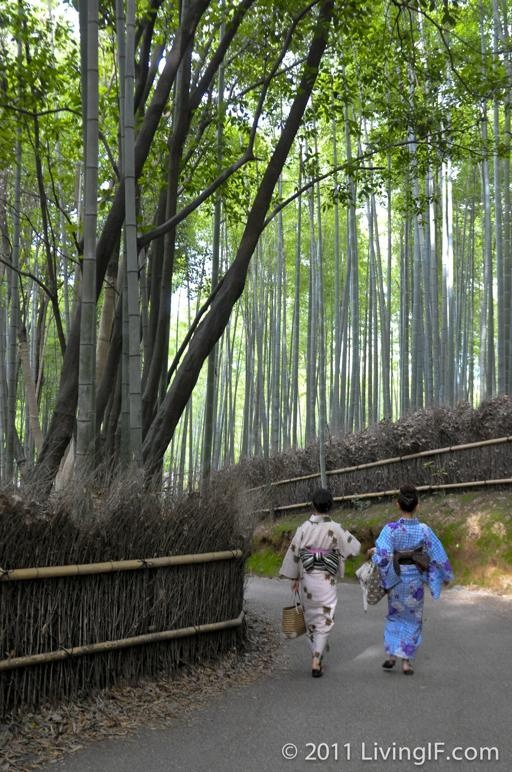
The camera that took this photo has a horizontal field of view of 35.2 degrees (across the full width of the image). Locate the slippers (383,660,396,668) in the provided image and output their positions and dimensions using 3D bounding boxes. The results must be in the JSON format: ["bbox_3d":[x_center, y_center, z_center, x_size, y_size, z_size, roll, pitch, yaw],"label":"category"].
[{"bbox_3d":[0.677,1.405,4.095,0.061,0.045,0.112,-2,-6,9],"label":"slippers"}]

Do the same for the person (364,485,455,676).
[{"bbox_3d":[0.822,0.977,4.211,0.373,1.017,0.263,3,15,17],"label":"person"}]

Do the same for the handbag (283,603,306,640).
[{"bbox_3d":[0.202,1.232,4.253,0.092,0.185,0.163,-2,-16,6],"label":"handbag"}]

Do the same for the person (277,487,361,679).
[{"bbox_3d":[0.340,1.015,4.305,0.368,0.923,0.376,2,-5,-35],"label":"person"}]

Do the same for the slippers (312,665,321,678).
[{"bbox_3d":[0.313,1.426,4.052,0.053,0.046,0.110,-2,-6,6],"label":"slippers"}]
